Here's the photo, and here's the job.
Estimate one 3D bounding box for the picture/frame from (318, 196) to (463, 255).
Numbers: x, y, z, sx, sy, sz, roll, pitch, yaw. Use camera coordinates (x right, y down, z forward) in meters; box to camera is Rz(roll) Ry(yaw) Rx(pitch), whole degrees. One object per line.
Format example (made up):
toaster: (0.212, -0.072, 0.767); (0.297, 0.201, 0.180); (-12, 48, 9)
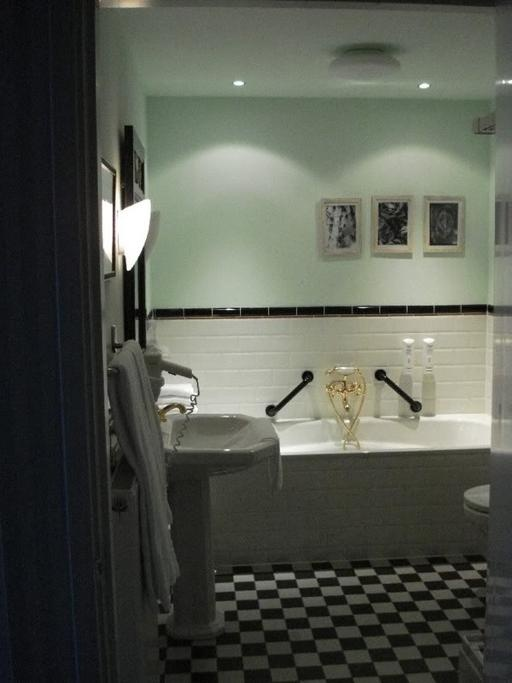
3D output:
picture/frame: (0.718, -0.608, 3.237); (0.800, 0.320, 0.040); (0, 4, -7)

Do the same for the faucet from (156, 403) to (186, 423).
faucet: (-0.266, 0.226, 1.901); (0.067, 0.064, 0.150); (-1, 2, -24)

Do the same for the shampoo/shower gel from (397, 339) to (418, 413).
shampoo/shower gel: (0.818, 0.214, 3.343); (0.115, 0.429, 0.121); (3, 4, -16)

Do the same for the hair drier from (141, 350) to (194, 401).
hair drier: (-0.276, 0.089, 1.876); (0.121, 0.155, 0.153); (3, 6, -12)

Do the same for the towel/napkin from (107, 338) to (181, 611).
towel/napkin: (-0.249, 0.309, 1.387); (0.136, 0.598, 0.338); (-1, 4, -9)

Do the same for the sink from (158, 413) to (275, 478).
sink: (-0.114, 0.304, 1.973); (0.360, 0.159, 0.420); (-1, 3, -3)

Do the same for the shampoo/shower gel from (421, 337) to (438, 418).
shampoo/shower gel: (0.948, 0.199, 3.317); (0.092, 0.426, 0.066); (0, 4, -5)

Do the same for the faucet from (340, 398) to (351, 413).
faucet: (0.472, 0.339, 3.227); (0.025, 0.053, 0.080); (1, 14, 0)
